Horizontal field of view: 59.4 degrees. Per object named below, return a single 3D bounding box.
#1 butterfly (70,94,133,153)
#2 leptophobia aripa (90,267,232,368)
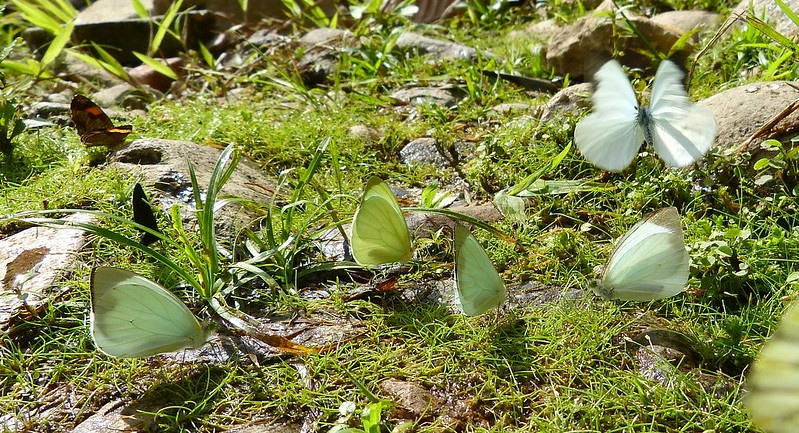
[{"bbox_3d":[-2.376,-0.653,5.359,0.332,0.565,0.346,-29,91,-21],"label":"butterfly"},{"bbox_3d":[-1.486,0.543,4.123,0.632,0.458,0.420,-10,55,1],"label":"leptophobia aripa"}]
